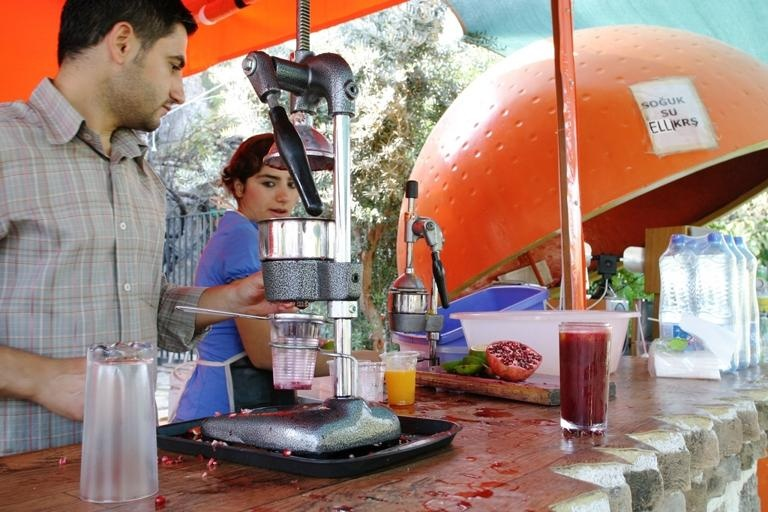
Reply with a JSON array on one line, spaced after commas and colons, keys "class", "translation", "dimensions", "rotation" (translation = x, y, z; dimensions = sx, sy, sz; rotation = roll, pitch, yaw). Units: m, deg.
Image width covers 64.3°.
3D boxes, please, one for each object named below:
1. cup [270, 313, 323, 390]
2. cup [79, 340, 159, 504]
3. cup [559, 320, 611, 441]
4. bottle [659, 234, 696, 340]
[{"class": "cup", "translation": [-0.254, 0.261, 1.836], "dimensions": [0.141, 0.248, 0.165], "rotation": [-1, 1, 11]}, {"class": "cup", "translation": [-0.670, 0.405, 1.531], "dimensions": [0.183, 0.376, 0.184], "rotation": [2, 10, 0]}, {"class": "cup", "translation": [0.619, 0.372, 1.910], "dimensions": [0.145, 0.339, 0.173], "rotation": [4, 2, 24]}, {"class": "bottle", "translation": [1.470, 0.173, 2.998], "dimensions": [0.132, 0.511, 0.187], "rotation": [7, -8, -37]}]
